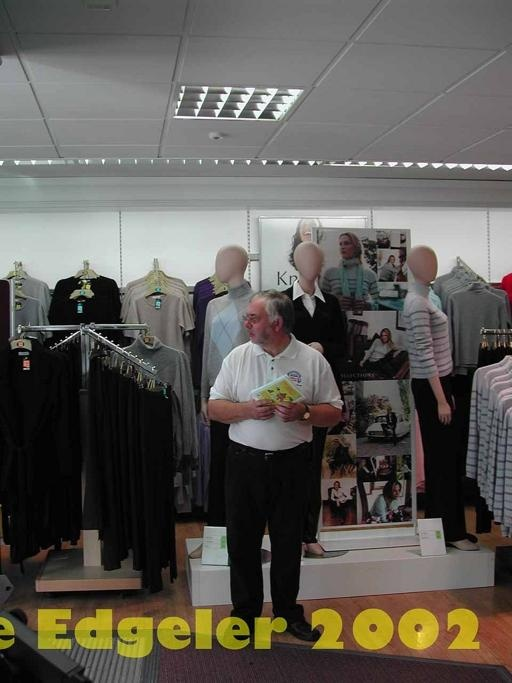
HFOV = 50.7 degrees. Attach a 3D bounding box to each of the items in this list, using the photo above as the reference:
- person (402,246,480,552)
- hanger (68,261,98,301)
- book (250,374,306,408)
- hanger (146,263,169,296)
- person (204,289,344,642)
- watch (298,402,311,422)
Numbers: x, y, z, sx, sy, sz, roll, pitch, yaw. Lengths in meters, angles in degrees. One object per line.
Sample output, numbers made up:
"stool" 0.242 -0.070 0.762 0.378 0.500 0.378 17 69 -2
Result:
"person" 1.103 0.324 3.250 0.347 1.799 0.503 -3 -7 21
"hanger" -1.459 -0.485 4.537 0.195 0.301 0.177 -1 -6 4
"book" 0.086 0.195 2.093 0.152 0.016 0.111 -19 -49 33
"hanger" -0.841 -0.500 4.552 0.186 0.251 0.167 1 -6 -12
"person" 0.049 0.552 2.264 0.517 1.511 0.536 -4 -7 32
"watch" 0.196 0.284 2.133 0.033 0.061 0.050 2 32 -3
